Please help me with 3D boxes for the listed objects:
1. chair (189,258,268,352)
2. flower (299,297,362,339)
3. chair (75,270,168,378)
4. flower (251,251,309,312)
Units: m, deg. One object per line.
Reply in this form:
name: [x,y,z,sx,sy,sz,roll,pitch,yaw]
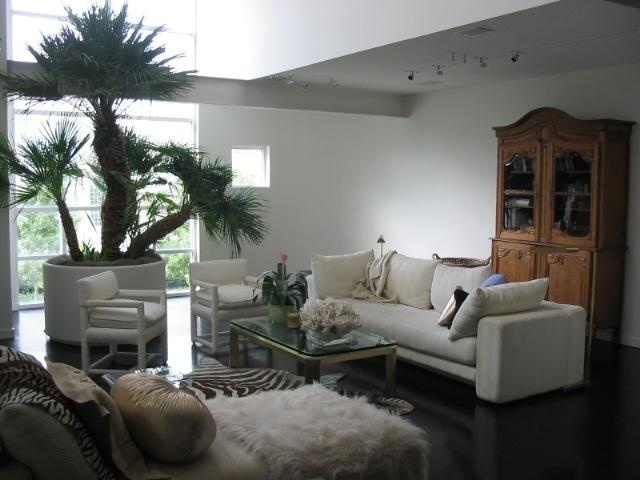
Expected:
chair: [-1.000,0.695,5.401,0.828,0.937,0.714,-3,3,-45]
flower: [0.073,0.607,3.816,0.341,0.252,0.357,1,5,3]
chair: [-1.898,0.811,4.667,0.702,0.904,0.826,3,3,8]
flower: [-0.373,0.374,4.583,0.460,0.470,0.559,4,6,35]
